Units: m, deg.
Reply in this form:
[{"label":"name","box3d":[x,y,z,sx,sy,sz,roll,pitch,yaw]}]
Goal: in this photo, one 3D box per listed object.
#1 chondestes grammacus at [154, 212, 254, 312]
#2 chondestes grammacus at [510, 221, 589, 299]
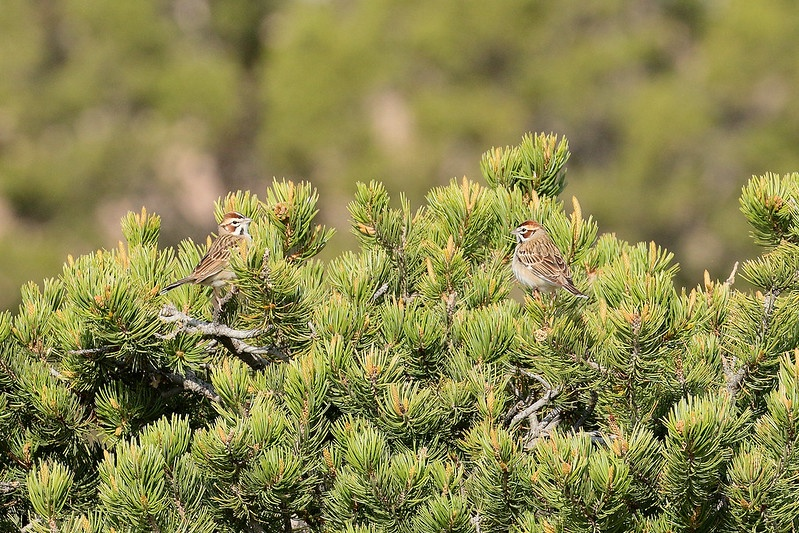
[{"label":"chondestes grammacus","box3d":[-1.021,-0.031,5.592,0.559,0.478,0.235,-11,6,-16]},{"label":"chondestes grammacus","box3d":[0.844,-0.013,5.834,0.259,0.375,0.700,2,15,-22]}]
